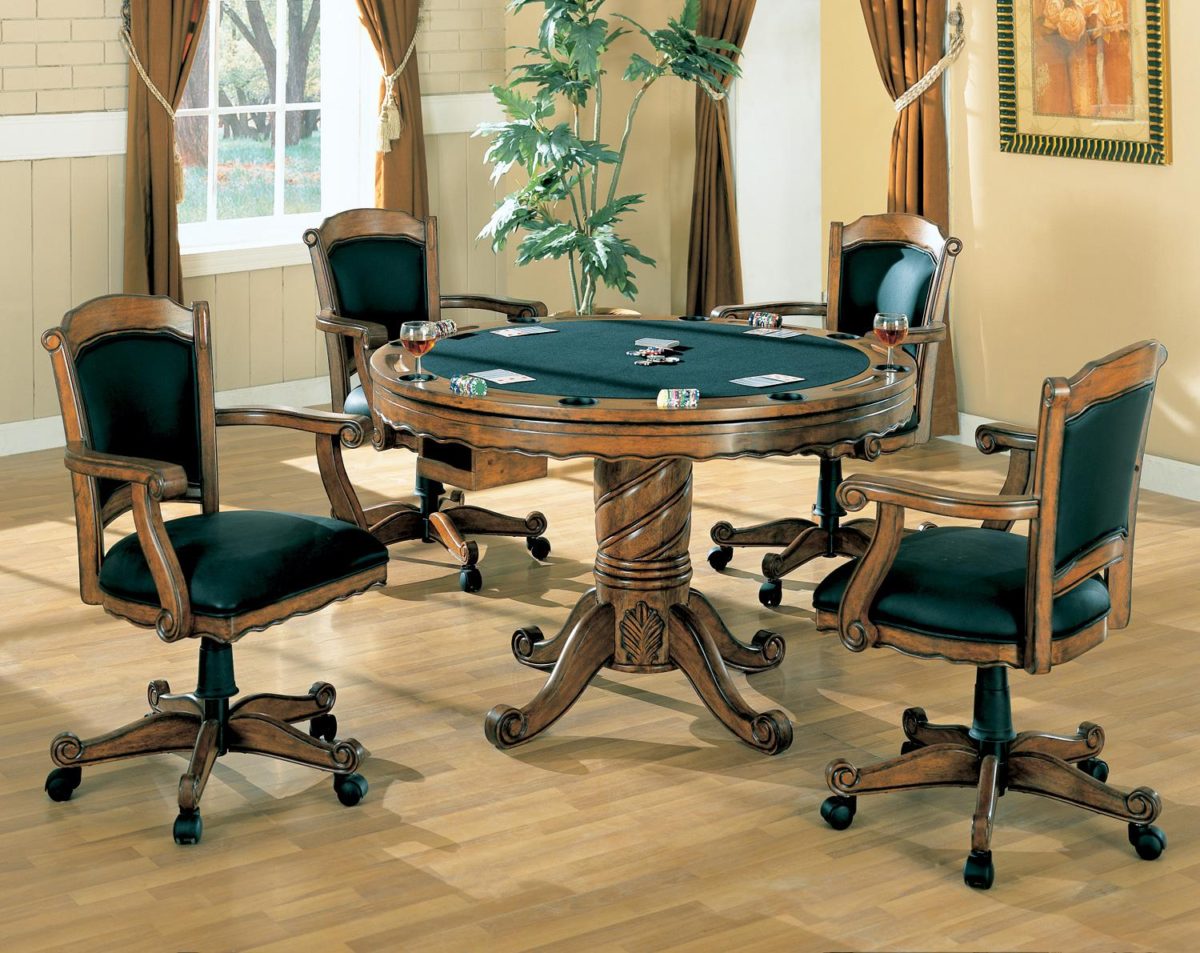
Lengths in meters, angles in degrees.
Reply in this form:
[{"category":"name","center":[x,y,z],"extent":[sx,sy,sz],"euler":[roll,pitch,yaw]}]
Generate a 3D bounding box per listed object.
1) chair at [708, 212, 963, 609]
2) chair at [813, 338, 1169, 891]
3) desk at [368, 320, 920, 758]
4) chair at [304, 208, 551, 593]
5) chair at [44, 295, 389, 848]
[{"category":"chair","center":[0.780,-0.261,4.139],"extent":[1.074,1.223,1.006],"euler":[-27,24,-37]},{"category":"chair","center":[0.874,0.249,2.362],"extent":[0.778,1.070,0.510],"euler":[-5,15,-16]},{"category":"desk","center":[0.123,0.201,3.132],"extent":[1.538,0.796,1.390],"euler":[-2,3,-27]},{"category":"chair","center":[-0.599,-0.336,4.322],"extent":[1.070,1.190,0.966],"euler":[27,26,35]},{"category":"chair","center":[-0.903,0.116,2.658],"extent":[0.925,0.915,0.769],"euler":[4,22,-31]}]
